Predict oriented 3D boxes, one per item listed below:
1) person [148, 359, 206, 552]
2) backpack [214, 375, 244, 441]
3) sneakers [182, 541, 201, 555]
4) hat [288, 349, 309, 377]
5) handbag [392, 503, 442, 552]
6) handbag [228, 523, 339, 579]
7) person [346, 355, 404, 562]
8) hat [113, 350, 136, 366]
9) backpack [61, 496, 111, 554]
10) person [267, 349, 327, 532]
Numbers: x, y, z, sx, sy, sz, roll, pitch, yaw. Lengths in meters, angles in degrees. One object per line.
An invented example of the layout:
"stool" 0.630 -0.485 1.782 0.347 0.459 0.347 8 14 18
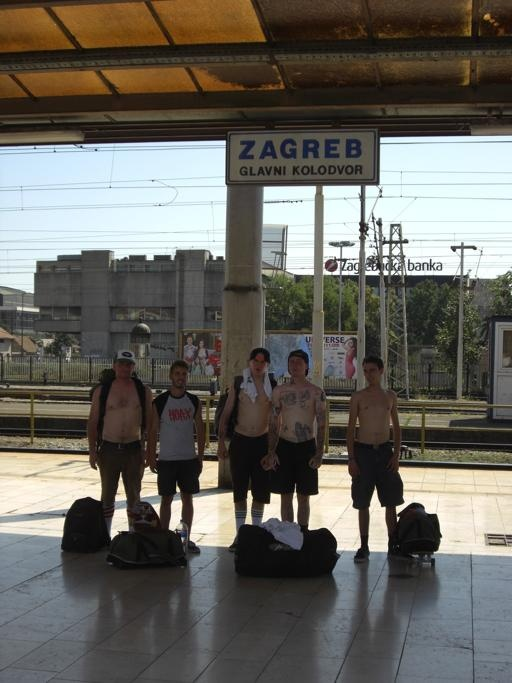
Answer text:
"person" -0.723 0.935 7.630 0.486 1.523 0.372 0 1 -7
"backpack" -0.287 0.614 7.737 0.285 0.363 0.393 10 3 -7
"sneakers" -0.584 1.830 7.440 0.162 0.120 0.400 3 -7 -9
"hat" 0.388 0.188 7.390 0.181 0.231 0.231 0 -13 8
"handbag" 1.382 1.639 7.305 0.426 0.385 0.446 0 1 6
"handbag" 0.236 1.637 6.725 0.616 0.210 0.451 4 -1 0
"person" 1.043 1.003 7.408 0.548 1.747 0.395 0 1 -15
"hat" -1.188 0.146 7.573 0.165 0.137 0.296 0 1 -11
"backpack" -1.530 1.636 7.595 0.406 0.457 0.300 5 -3 -3
"person" 0.357 0.909 7.436 0.485 1.657 0.798 0 1 4
